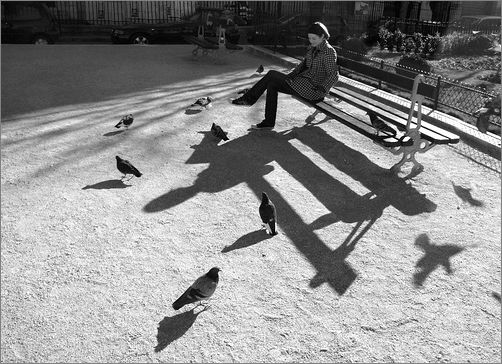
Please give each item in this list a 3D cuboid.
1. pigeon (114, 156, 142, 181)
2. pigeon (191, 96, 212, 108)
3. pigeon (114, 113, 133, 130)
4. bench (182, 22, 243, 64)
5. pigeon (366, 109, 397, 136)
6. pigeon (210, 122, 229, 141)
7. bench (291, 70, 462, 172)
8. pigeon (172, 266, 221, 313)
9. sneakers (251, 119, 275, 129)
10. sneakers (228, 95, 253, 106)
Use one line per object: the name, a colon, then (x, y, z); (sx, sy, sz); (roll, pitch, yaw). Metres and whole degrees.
pigeon: (-1.813, -0.185, 5.681); (0.268, 0.315, 0.493); (-19, 35, -32)
pigeon: (-1.096, -1.807, 8.904); (0.489, 0.266, 0.337); (-11, 31, -21)
pigeon: (-2.486, -1.162, 7.547); (0.341, 0.297, 0.409); (-9, 31, -18)
bench: (-1.745, -6.073, 17.141); (1.538, 1.396, 3.606); (-2, 26, -14)
pigeon: (2.015, -0.914, 6.228); (0.196, 0.240, 0.644); (-40, 36, 8)
pigeon: (-0.565, -0.895, 6.973); (0.442, 0.186, 0.165); (42, 46, 22)
bench: (2.276, -1.093, 7.235); (0.820, 1.047, 2.451); (-8, 27, -16)
pigeon: (-0.496, 0.960, 3.543); (0.497, 0.331, 0.253); (-5, 17, -32)
sneakers: (0.226, -1.124, 7.641); (0.443, 0.175, 0.162); (3, 25, -1)
sneakers: (-0.211, -1.597, 7.745); (0.443, 0.173, 0.162); (8, 25, 2)
